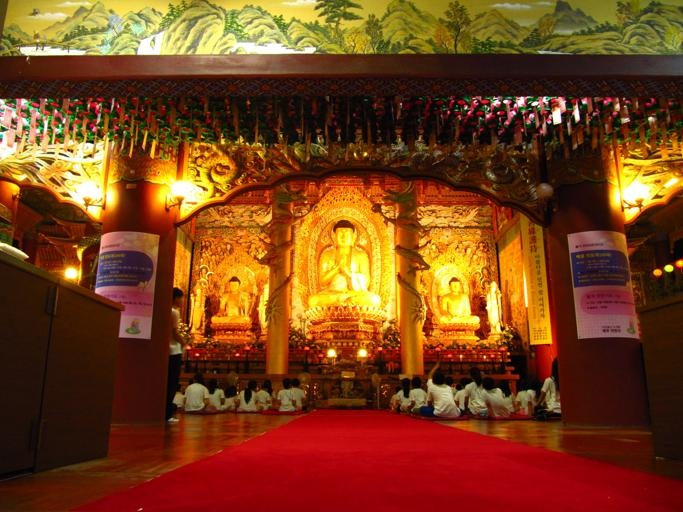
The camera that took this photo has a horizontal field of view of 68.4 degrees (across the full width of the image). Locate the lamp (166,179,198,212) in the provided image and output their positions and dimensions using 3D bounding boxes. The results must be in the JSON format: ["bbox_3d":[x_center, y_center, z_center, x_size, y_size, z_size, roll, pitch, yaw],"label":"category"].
[{"bbox_3d":[-1.800,-0.685,5.608,0.239,0.357,0.229,-11,-18,28],"label":"lamp"}]

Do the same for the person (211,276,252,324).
[{"bbox_3d":[-2.607,1.049,11.969,0.810,1.156,0.405,1,-16,-11],"label":"person"}]

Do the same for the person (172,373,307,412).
[{"bbox_3d":[-1.529,2.085,7.527,1.804,0.501,1.386,2,-16,-18],"label":"person"}]

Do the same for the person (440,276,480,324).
[{"bbox_3d":[2.766,1.083,11.945,0.980,1.085,0.615,3,-31,-2],"label":"person"}]

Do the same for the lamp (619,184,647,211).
[{"bbox_3d":[3.194,-0.644,5.498,0.325,0.349,0.134,10,2,41],"label":"lamp"}]

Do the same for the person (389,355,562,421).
[{"bbox_3d":[1.776,1.751,6.486,1.880,0.663,1.479,-2,-15,-3],"label":"person"}]
